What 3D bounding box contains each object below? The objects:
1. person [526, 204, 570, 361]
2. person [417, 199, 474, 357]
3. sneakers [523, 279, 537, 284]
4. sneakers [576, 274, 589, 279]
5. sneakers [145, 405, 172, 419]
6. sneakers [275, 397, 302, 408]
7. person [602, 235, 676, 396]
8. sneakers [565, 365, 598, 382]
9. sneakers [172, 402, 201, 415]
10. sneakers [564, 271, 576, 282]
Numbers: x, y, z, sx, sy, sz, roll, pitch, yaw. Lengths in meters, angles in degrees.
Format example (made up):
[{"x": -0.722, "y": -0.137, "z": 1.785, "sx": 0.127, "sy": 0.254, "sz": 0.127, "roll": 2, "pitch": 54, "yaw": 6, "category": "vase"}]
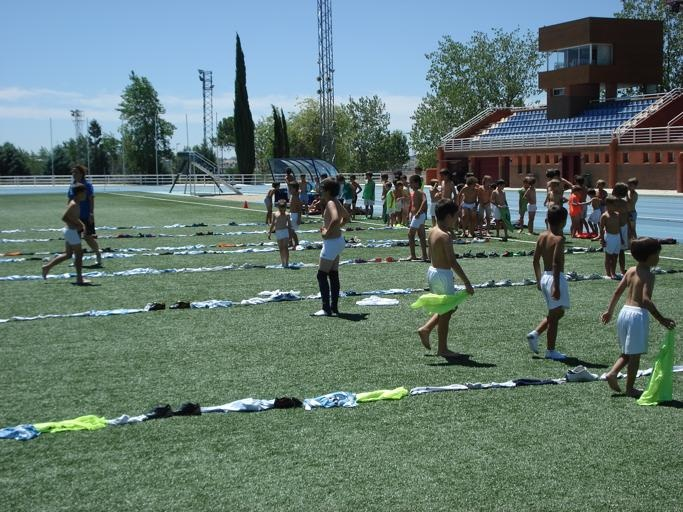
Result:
[{"x": 2.316, "y": 0.250, "z": 9.141, "sx": 0.412, "sy": 1.692, "sz": 1.375, "roll": 2, "pitch": 12, "yaw": 15, "category": "person"}, {"x": 1.129, "y": 0.234, "z": 8.951, "sx": 0.570, "sy": 1.747, "sz": 1.027, "roll": 0, "pitch": 12, "yaw": 8, "category": "person"}, {"x": 2.986, "y": 0.404, "z": 13.063, "sx": 0.225, "sy": 0.095, "sz": 0.079, "roll": 1, "pitch": 6, "yaw": 33, "category": "sneakers"}, {"x": 3.967, "y": 0.339, "z": 13.519, "sx": 0.149, "sy": 0.055, "sz": 0.058, "roll": -7, "pitch": -7, "yaw": -18, "category": "sneakers"}, {"x": -1.641, "y": 1.406, "z": 7.437, "sx": 0.230, "sy": 0.079, "sz": 0.173, "roll": -5, "pitch": 12, "yaw": -17, "category": "sneakers"}, {"x": -0.491, "y": 1.360, "z": 7.620, "sx": 0.270, "sy": 0.075, "sz": 0.138, "roll": -1, "pitch": 12, "yaw": -3, "category": "sneakers"}, {"x": 2.786, "y": 0.550, "z": 7.737, "sx": 0.597, "sy": 1.526, "sz": 0.956, "roll": 3, "pitch": 12, "yaw": 20, "category": "person"}, {"x": 2.362, "y": 1.177, "z": 8.158, "sx": 0.362, "sy": 0.150, "sz": 0.130, "roll": 0, "pitch": 10, "yaw": -11, "category": "sneakers"}, {"x": -1.400, "y": 1.399, "z": 7.482, "sx": 0.255, "sy": 0.099, "sz": 0.094, "roll": 1, "pitch": -1, "yaw": -7, "category": "sneakers"}, {"x": 3.527, "y": 0.316, "z": 12.665, "sx": 0.265, "sy": 0.126, "sz": 0.363, "roll": -2, "pitch": 0, "yaw": 23, "category": "sneakers"}]
